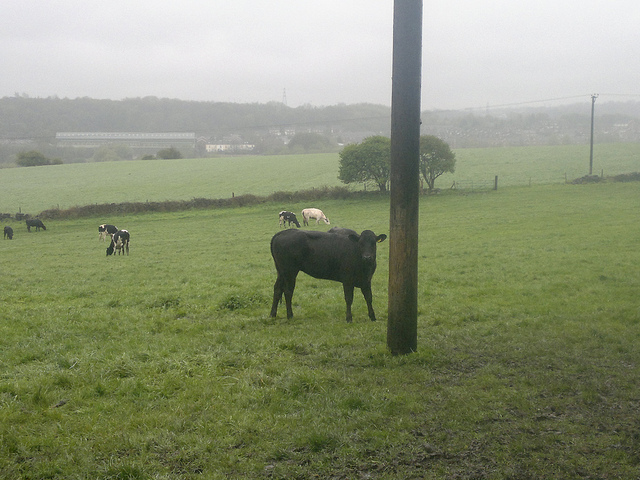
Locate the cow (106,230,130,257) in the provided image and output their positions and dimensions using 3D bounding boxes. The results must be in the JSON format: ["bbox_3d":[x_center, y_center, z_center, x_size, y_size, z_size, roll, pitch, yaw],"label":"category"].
[{"bbox_3d":[-10.301,0.121,37.786,0.982,1.136,1.618,-2,7,4],"label":"cow"}]

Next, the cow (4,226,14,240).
[{"bbox_3d":[-20.317,-0.494,48.240,0.435,0.768,1.388,-6,8,-27],"label":"cow"}]

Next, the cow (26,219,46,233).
[{"bbox_3d":[-20.640,-1.113,53.762,1.263,0.811,2.178,-6,8,-22],"label":"cow"}]

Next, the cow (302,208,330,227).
[{"bbox_3d":[-0.323,-1.614,49.949,1.772,0.991,3.394,-3,8,0],"label":"cow"}]
